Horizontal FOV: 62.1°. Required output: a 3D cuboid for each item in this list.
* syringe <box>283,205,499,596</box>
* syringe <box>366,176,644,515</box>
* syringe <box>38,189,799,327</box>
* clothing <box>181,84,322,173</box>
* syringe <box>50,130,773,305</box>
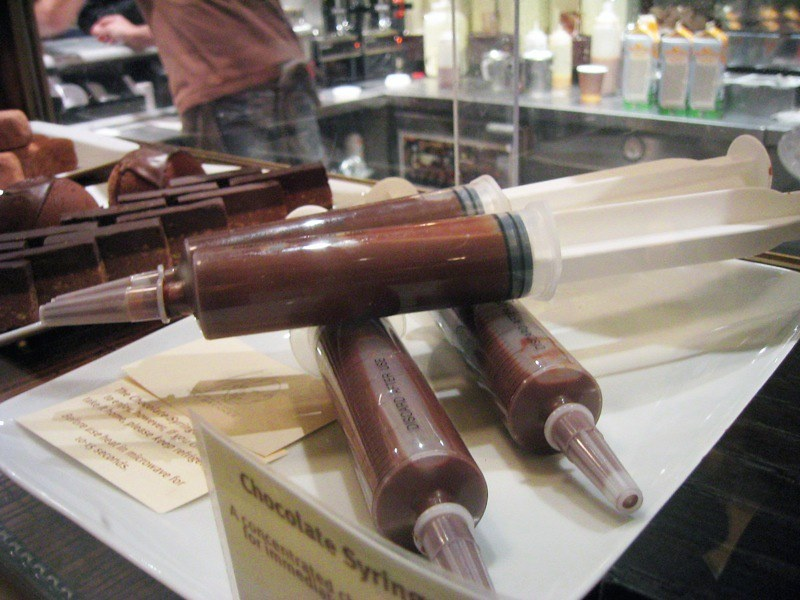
[{"bbox_3d":[-0.007,0.077,0.460,0.065,0.063,0.228,-10,32,-13],"label":"syringe"},{"bbox_3d":[0.089,0.006,0.631,0.089,0.092,0.421,-44,38,9],"label":"syringe"},{"bbox_3d":[0.045,-0.035,0.618,0.460,0.083,0.071,-9,-14,-3],"label":"syringe"},{"bbox_3d":[-0.286,-0.336,1.266,0.254,0.194,0.067,10,12,6],"label":"clothing"},{"bbox_3d":[0.025,-0.090,0.720,0.796,0.121,0.130,-13,1,0],"label":"syringe"}]
